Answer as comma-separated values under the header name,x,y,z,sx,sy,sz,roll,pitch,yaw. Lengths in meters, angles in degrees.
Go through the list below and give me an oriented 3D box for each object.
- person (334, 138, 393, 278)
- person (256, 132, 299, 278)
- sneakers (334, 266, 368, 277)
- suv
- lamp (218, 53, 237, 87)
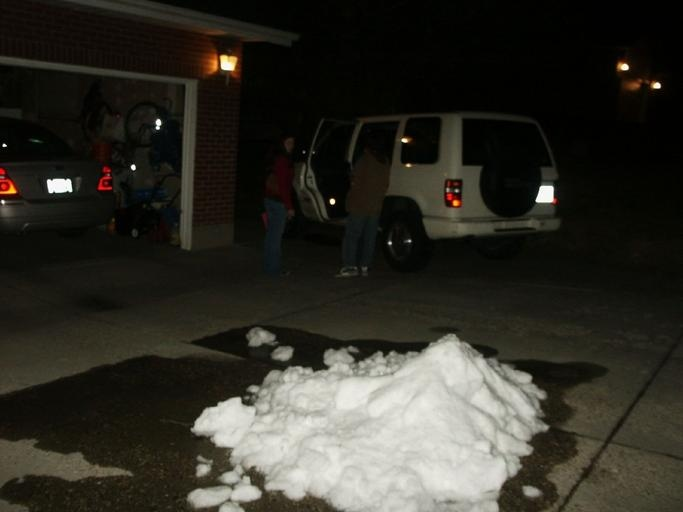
name,x,y,z,sx,sy,sz,roll,pitch,yaw
person,0.345,-0.727,8.841,0.745,2.081,0.438,1,12,-6
person,-0.928,-0.722,8.594,0.431,2.087,0.521,1,12,-7
sneakers,0.155,0.248,8.913,0.485,0.230,0.183,1,3,-12
suv,1.216,-1.397,9.680,2.687,1.736,3.619,-8,20,-34
lamp,-1.974,-3.306,10.309,0.201,0.532,0.433,10,14,31
